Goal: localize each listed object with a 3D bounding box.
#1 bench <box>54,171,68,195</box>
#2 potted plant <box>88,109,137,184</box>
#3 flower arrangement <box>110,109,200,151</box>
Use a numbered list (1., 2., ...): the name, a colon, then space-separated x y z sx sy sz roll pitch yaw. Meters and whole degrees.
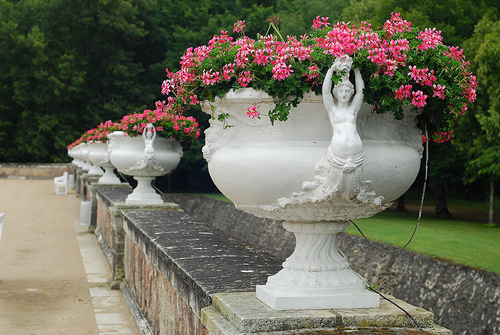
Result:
1. bench: -8.864 0.725 46.660 0.509 0.798 1.242 1 -1 -17
2. potted plant: -4.796 -0.644 35.452 1.719 2.976 1.584 0 4 -26
3. flower arrangement: -3.097 -1.415 31.645 2.610 1.011 2.273 -2 6 -33
